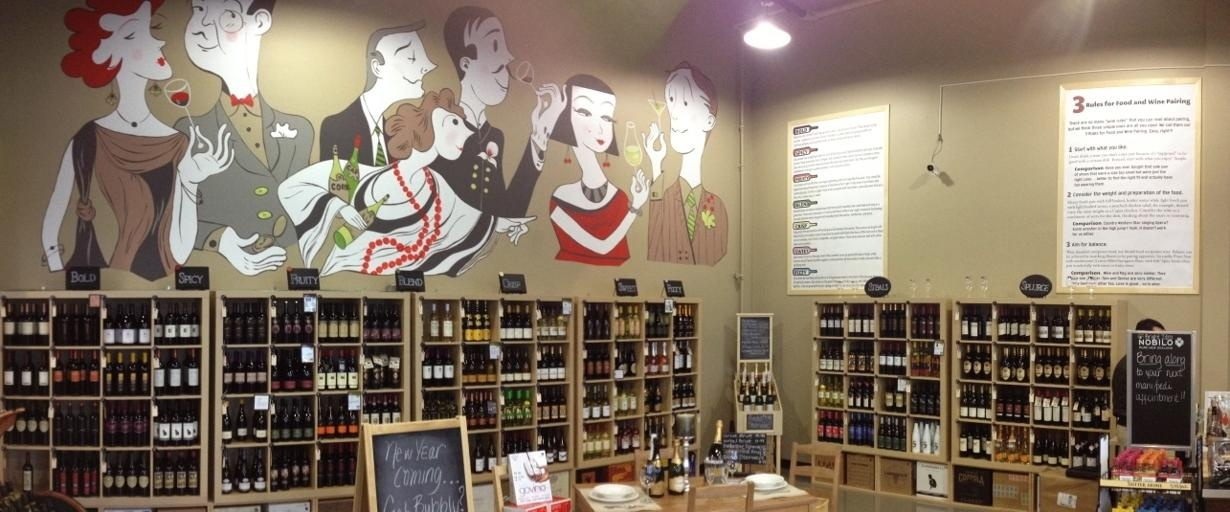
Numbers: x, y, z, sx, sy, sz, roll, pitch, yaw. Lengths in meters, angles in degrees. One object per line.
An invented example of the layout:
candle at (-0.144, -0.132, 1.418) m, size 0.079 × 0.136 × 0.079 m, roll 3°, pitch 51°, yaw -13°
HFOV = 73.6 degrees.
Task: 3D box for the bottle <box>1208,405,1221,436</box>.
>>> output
bottle at (9.962, 2.755, 13.641) m, size 0.238 × 0.490 × 0.080 m, roll -1°, pitch -2°, yaw 15°

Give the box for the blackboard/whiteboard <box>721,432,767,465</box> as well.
blackboard/whiteboard at (2.392, 3.617, 15.295) m, size 1.207 × 0.675 × 0.143 m, roll 0°, pitch 0°, yaw -6°

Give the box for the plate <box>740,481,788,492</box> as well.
plate at (2.492, 3.747, 13.279) m, size 0.401 × 0.079 × 0.372 m, roll -2°, pitch -5°, yaw 11°

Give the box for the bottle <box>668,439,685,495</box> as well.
bottle at (1.026, 3.443, 13.467) m, size 0.296 × 0.850 × 0.406 m, roll -1°, pitch -2°, yaw 4°
